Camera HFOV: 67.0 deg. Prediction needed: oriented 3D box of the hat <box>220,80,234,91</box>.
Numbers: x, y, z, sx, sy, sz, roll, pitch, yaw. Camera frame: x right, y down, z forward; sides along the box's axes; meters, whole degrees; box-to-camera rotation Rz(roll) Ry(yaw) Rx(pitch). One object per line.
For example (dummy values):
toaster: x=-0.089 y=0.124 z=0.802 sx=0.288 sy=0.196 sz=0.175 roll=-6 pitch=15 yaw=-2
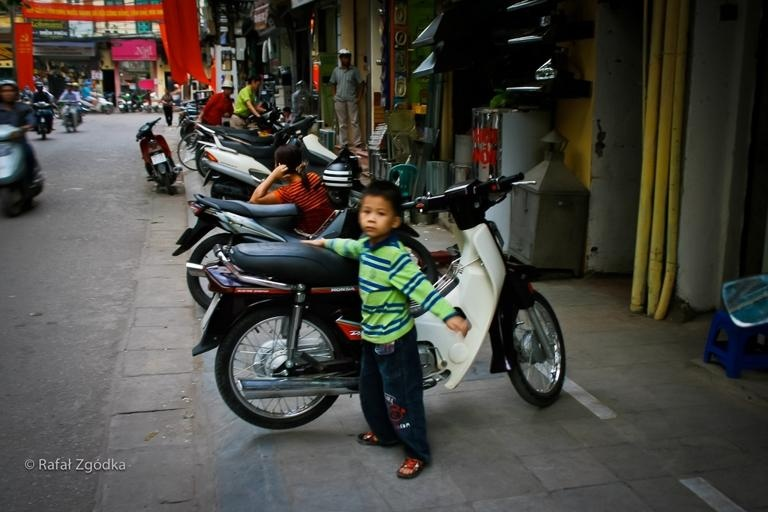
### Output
hat: x=-3.867 y=-4.219 z=14.215 sx=0.371 sy=0.218 sz=0.443 roll=2 pitch=5 yaw=-9

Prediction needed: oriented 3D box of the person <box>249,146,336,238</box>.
person: x=-1.228 y=-0.658 z=5.991 sx=1.218 sy=0.738 sz=0.668 roll=-14 pitch=22 yaw=-9

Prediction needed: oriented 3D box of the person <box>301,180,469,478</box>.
person: x=0.077 y=0.402 z=3.560 sx=0.500 sy=1.720 sz=0.786 roll=-10 pitch=19 yaw=-25

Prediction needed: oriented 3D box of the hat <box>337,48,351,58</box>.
hat: x=-0.945 y=-4.827 z=13.778 sx=0.255 sy=0.184 sz=0.531 roll=-3 pitch=15 yaw=-5

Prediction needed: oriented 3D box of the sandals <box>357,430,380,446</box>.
sandals: x=-0.102 y=1.178 z=3.779 sx=0.141 sy=0.051 sz=0.074 roll=3 pitch=18 yaw=2

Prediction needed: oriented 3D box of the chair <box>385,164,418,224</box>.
chair: x=0.325 y=-1.090 z=9.032 sx=0.569 sy=0.682 sz=1.196 roll=2 pitch=19 yaw=0

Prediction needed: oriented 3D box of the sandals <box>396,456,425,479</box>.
sandals: x=0.155 y=1.262 z=3.476 sx=0.077 sy=0.072 sz=0.184 roll=-3 pitch=-7 yaw=30
